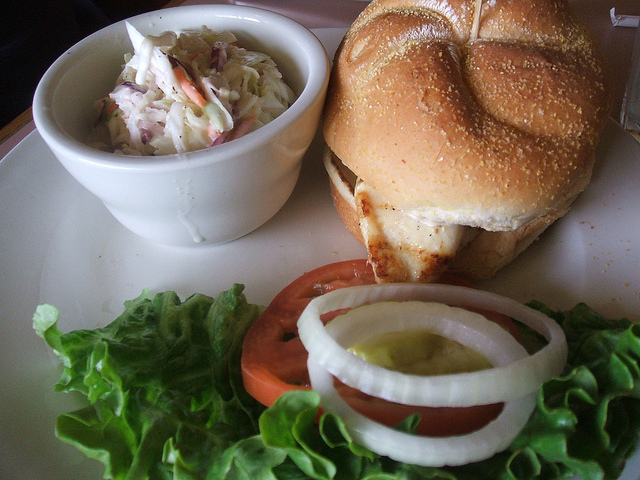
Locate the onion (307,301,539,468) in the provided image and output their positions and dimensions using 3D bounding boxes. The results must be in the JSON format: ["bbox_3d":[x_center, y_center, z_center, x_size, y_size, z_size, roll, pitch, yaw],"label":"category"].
[{"bbox_3d":[0.244,0.341,1.347,0.543,0.322,0.391,9,27,6],"label":"onion"}]
